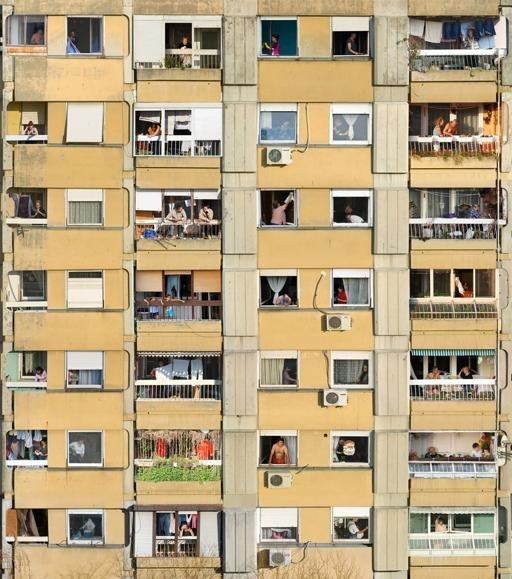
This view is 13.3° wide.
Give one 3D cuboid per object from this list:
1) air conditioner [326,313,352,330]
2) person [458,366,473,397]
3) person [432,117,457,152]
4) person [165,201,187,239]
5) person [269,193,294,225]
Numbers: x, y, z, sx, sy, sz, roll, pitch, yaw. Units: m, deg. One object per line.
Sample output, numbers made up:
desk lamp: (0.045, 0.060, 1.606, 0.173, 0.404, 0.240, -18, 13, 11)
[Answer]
air conditioner: (2.067, 0.791, 56.195, 0.499, 0.406, 0.427, 3, -3, -4)
person: (5.295, 2.329, 56.540, 0.302, 0.448, 0.882, -5, 50, 14)
person: (4.765, -4.000, 56.593, 0.584, 0.596, 1.015, 2, 27, 8)
person: (-1.959, -1.791, 56.597, 0.609, 1.392, 0.613, 1, -2, -10)
person: (0.653, -2.066, 56.266, 0.445, 0.892, 0.232, 8, 2, 18)
